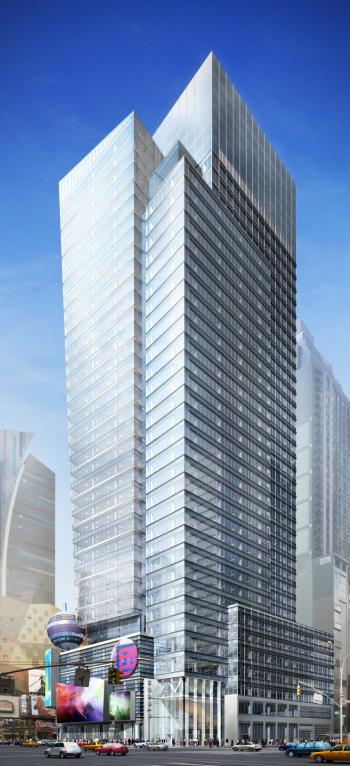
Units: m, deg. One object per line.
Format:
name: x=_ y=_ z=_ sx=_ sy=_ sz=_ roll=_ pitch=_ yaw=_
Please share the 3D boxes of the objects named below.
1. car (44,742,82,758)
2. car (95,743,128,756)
car: x=-10.826 y=35.353 z=95.557 sx=3.498 sy=1.409 sz=1.759 roll=-8 pitch=-20 yaw=27
car: x=-6.746 y=38.729 z=104.802 sx=3.025 sy=1.218 sz=1.660 roll=-14 pitch=-26 yaw=38
